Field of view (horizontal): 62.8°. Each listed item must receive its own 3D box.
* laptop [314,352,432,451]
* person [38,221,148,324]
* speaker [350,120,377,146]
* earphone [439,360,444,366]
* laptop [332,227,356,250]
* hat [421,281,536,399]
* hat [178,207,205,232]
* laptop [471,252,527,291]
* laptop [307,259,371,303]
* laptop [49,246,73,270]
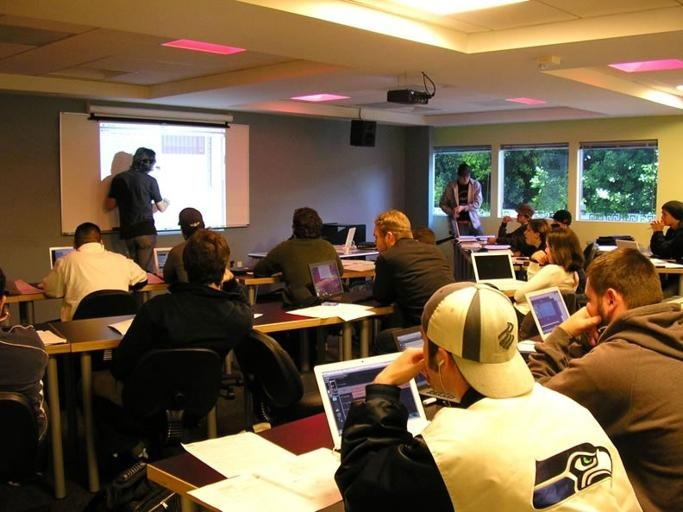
[{"bbox_3d":[0.093,0.520,2.194,0.397,0.236,0.350,-4,2,-32],"label":"laptop"},{"bbox_3d":[-2.140,0.380,4.834,0.711,1.228,0.699,9,13,21],"label":"person"},{"bbox_3d":[0.363,-2.088,9.501,0.535,0.499,0.243,-3,6,-35],"label":"speaker"},{"bbox_3d":[0.276,0.294,1.554,0.012,0.014,0.016,-2,18,-25],"label":"earphone"},{"bbox_3d":[0.039,-0.261,8.014,0.339,0.420,0.273,2,4,-2],"label":"laptop"},{"bbox_3d":[0.389,0.195,1.559,0.246,0.202,0.383,-9,32,-22],"label":"hat"},{"bbox_3d":[-1.468,-0.391,5.423,0.241,0.163,0.319,-7,19,-28],"label":"hat"},{"bbox_3d":[1.535,0.141,5.270,0.529,0.280,0.495,-4,14,-35],"label":"laptop"},{"bbox_3d":[-0.045,0.230,4.641,0.342,0.266,0.453,1,2,31],"label":"laptop"},{"bbox_3d":[-2.533,0.015,5.060,0.272,0.185,0.142,-3,9,-43],"label":"laptop"}]
